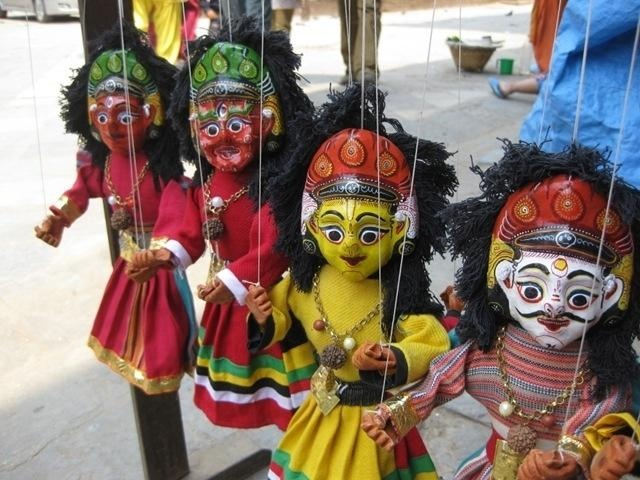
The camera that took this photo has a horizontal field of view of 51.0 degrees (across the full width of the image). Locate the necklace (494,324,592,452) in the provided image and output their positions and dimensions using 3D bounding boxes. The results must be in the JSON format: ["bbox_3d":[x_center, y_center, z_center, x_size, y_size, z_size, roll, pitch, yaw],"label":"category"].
[{"bbox_3d":[0.506,0.352,1.592,0.185,0.252,0.061,10,-3,13],"label":"necklace"}]

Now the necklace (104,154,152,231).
[{"bbox_3d":[-0.651,-0.160,2.197,0.145,0.232,0.080,4,8,-25],"label":"necklace"}]

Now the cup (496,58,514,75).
[{"bbox_3d":[1.013,-0.937,3.639,0.087,0.088,0.102,-1,5,2],"label":"cup"}]

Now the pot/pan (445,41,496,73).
[{"bbox_3d":[0.809,-0.952,3.602,0.280,0.118,0.281,-1,0,-33],"label":"pot/pan"}]

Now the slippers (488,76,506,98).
[{"bbox_3d":[0.907,-0.777,3.454,0.049,0.130,0.054,-17,-25,-3],"label":"slippers"}]

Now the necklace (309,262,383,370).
[{"bbox_3d":[0.055,0.214,1.824,0.200,0.273,0.096,6,-20,23],"label":"necklace"}]

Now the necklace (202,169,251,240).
[{"bbox_3d":[-0.312,-0.113,2.018,0.113,0.181,0.045,2,-4,8],"label":"necklace"}]
